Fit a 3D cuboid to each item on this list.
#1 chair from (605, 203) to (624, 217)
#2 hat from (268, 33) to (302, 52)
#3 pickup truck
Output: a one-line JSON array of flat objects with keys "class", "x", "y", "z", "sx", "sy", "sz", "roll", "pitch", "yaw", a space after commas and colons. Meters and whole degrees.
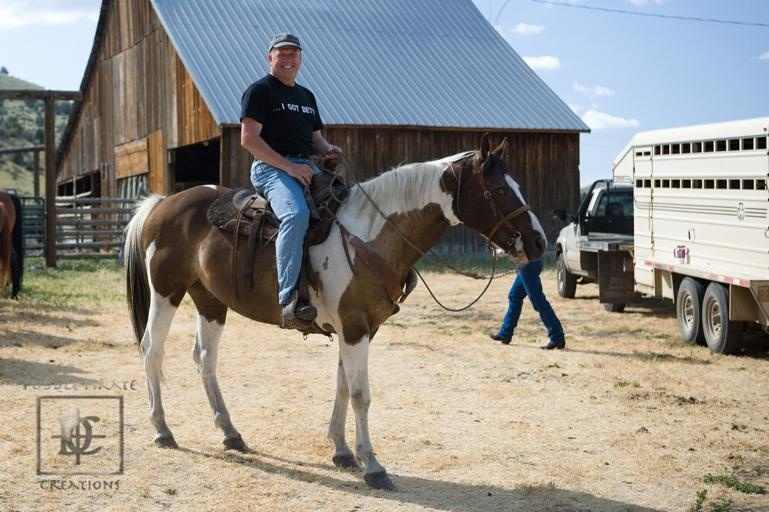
[{"class": "chair", "x": 5.491, "y": -1.092, "z": 25.540, "sx": 0.248, "sy": 0.394, "sz": 0.401, "roll": -1, "pitch": 2, "yaw": 3}, {"class": "hat", "x": -1.588, "y": -3.395, "z": 17.077, "sx": 0.469, "sy": 0.395, "sz": 0.689, "roll": 0, "pitch": 4, "yaw": -11}, {"class": "pickup truck", "x": 4.836, "y": -0.272, "z": 24.738, "sx": 1.738, "sy": 3.019, "sz": 2.947, "roll": 1, "pitch": 2, "yaw": 10}]
